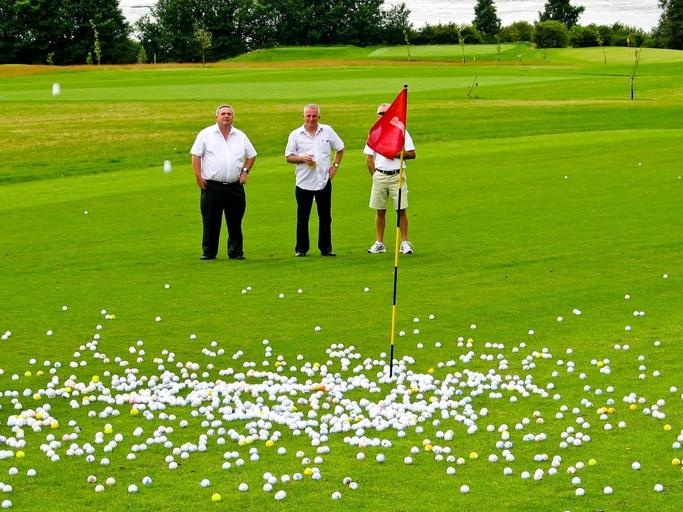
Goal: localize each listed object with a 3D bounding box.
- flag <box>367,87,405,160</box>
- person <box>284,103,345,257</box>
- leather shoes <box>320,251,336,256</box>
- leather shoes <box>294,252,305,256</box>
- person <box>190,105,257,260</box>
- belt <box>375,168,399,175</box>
[{"bbox_3d":[1.125,-3.074,31.302,0.749,1.895,0.216,8,39,5],"label":"flag"},{"bbox_3d":[-0.742,-1.993,36.400,1.445,3.897,0.948,1,11,-3],"label":"person"},{"bbox_3d":[-0.345,-0.097,36.449,0.366,0.132,0.130,-1,3,3],"label":"leather shoes"},{"bbox_3d":[-1.078,-0.073,36.413,0.258,0.107,0.090,6,3,-14],"label":"leather shoes"},{"bbox_3d":[-3.090,-1.905,36.054,1.554,3.949,0.715,0,11,-10],"label":"person"},{"bbox_3d":[1.197,-2.207,36.407,0.583,0.138,0.126,3,10,9],"label":"belt"}]
